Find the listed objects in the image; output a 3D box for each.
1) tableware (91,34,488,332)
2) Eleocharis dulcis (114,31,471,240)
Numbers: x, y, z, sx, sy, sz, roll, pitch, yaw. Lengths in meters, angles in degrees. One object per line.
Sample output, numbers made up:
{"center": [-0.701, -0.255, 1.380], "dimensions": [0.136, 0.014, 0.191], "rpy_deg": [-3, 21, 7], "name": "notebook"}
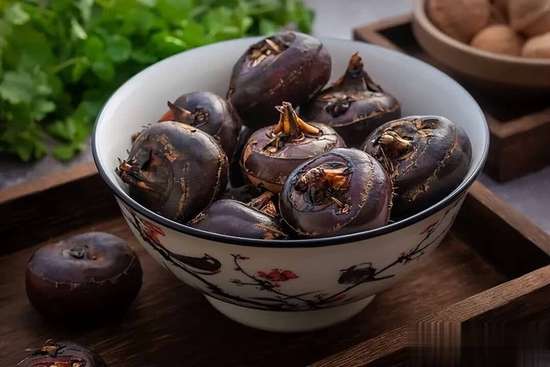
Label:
{"center": [-0.004, -0.037, 0.693], "dimensions": [0.491, 0.207, 0.464], "rpy_deg": [-2, 34, -1], "name": "tableware"}
{"center": [0.025, -0.082, 0.763], "dimensions": [0.482, 0.117, 0.353], "rpy_deg": [6, 52, 5], "name": "Eleocharis dulcis"}
